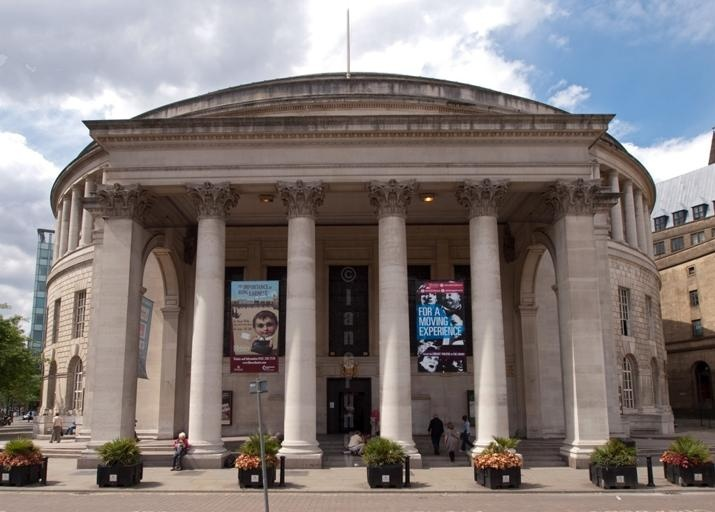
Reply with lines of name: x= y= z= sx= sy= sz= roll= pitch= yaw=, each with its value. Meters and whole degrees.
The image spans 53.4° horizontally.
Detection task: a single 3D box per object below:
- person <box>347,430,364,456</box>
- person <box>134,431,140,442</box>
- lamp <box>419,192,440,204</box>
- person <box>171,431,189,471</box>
person: x=-0.105 y=10.417 z=39.619 sx=0.914 sy=1.323 sz=1.134 roll=1 pitch=-18 yaw=-7
person: x=-14.137 y=11.488 z=45.511 sx=0.293 sy=0.768 sz=1.436 roll=4 pitch=-18 yaw=-15
lamp: x=4.067 y=-3.423 z=41.183 sx=0.647 sy=0.375 sz=0.635 roll=-3 pitch=-8 yaw=18
person: x=-9.333 y=10.285 z=37.345 sx=0.827 sy=1.889 sz=1.128 roll=3 pitch=-19 yaw=-14
